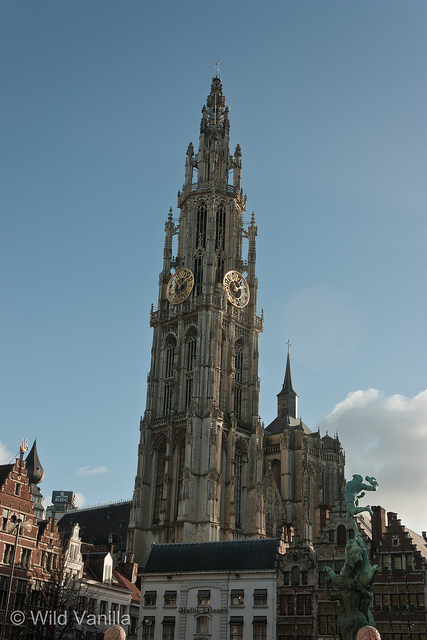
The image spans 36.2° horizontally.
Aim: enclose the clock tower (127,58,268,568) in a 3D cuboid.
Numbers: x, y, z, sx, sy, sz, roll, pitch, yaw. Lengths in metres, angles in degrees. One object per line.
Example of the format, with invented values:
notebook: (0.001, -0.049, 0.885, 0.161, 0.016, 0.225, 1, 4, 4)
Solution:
clock tower: (-0.372, -4.852, 84.586, 13.570, 69.068, 6.988, 5, -25, -3)
